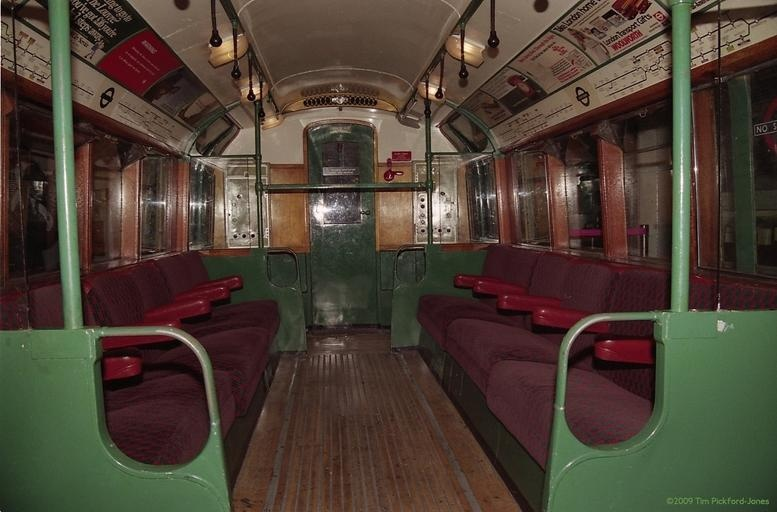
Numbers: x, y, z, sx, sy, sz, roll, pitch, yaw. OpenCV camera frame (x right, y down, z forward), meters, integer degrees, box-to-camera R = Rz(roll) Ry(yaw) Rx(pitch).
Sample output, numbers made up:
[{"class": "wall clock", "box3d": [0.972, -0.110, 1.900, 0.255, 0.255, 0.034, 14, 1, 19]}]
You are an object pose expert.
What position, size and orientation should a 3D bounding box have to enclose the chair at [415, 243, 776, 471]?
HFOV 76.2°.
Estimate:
[{"class": "chair", "box3d": [1.366, 0.606, 4.253, 1.381, 1.203, 3.203, -2, 10, -12]}]
